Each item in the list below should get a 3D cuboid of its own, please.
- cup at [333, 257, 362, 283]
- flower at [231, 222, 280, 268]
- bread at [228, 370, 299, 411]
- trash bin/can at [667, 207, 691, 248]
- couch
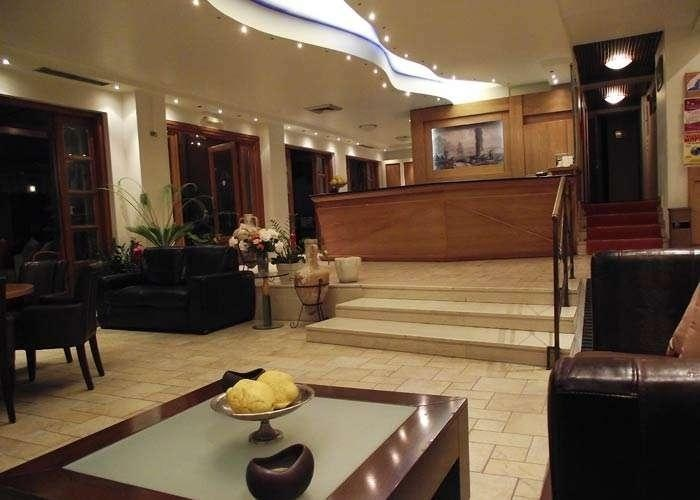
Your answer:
[{"bbox_3d":[-0.017,0.258,6.304,0.320,0.297,0.357,-4,0,14],"label":"cup"},{"bbox_3d":[-1.236,-0.075,6.086,0.605,0.506,0.594,-2,3,-42],"label":"flower"},{"bbox_3d":[-0.341,0.542,1.940,0.164,0.096,0.215,-4,3,4],"label":"bread"},{"bbox_3d":[5.337,-0.368,7.633,0.310,0.617,0.361,-2,5,34],"label":"trash bin/can"},{"bbox_3d":[-2.283,0.517,6.203,1.780,1.103,0.896,-4,4,13],"label":"couch"}]
